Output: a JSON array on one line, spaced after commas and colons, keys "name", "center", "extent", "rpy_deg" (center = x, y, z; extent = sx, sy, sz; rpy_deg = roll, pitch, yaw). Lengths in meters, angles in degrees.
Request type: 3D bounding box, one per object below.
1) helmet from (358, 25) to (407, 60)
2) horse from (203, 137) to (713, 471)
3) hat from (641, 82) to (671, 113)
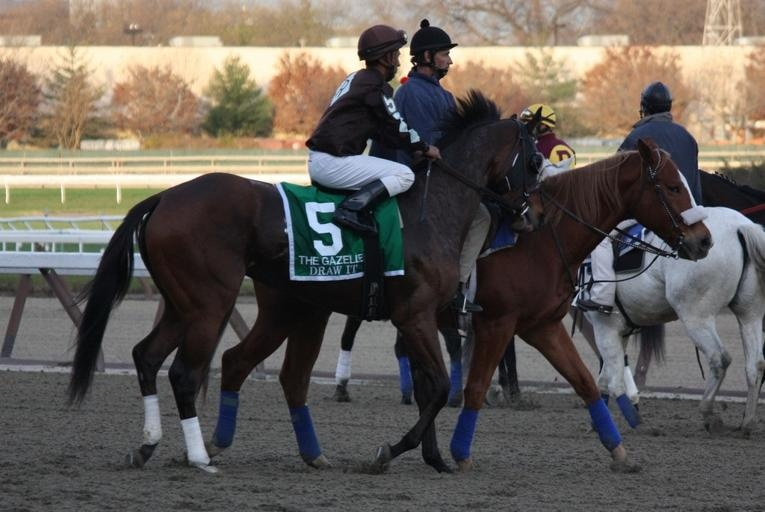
[{"name": "helmet", "center": [-0.028, -2.358, 15.402], "extent": [0.631, 0.336, 0.445], "rpy_deg": [-13, 17, -14]}, {"name": "horse", "center": [0.813, 0.694, 16.002], "extent": [5.773, 3.374, 1.351], "rpy_deg": [-2, -14, 19]}, {"name": "hat", "center": [3.392, -1.928, 17.166], "extent": [0.333, 0.354, 0.395], "rpy_deg": [3, 32, -3]}]
